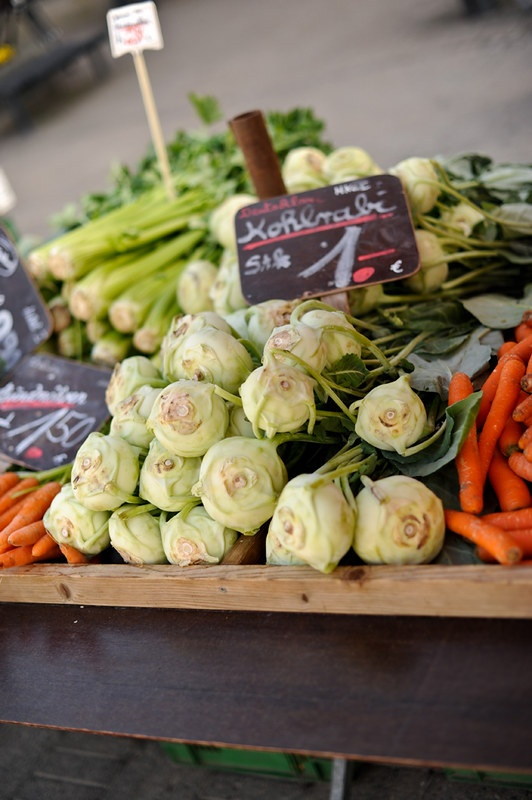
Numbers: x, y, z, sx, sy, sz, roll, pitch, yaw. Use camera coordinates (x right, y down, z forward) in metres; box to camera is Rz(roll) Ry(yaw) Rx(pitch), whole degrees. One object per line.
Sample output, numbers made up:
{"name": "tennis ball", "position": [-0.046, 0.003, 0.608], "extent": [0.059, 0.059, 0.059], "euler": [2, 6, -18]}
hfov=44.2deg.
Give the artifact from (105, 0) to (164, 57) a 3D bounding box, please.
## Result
{"name": "artifact", "position": [-0.458, -1.274, 2.257], "extent": [0.182, 0.148, 0.235], "euler": [-14, 39, -3]}
